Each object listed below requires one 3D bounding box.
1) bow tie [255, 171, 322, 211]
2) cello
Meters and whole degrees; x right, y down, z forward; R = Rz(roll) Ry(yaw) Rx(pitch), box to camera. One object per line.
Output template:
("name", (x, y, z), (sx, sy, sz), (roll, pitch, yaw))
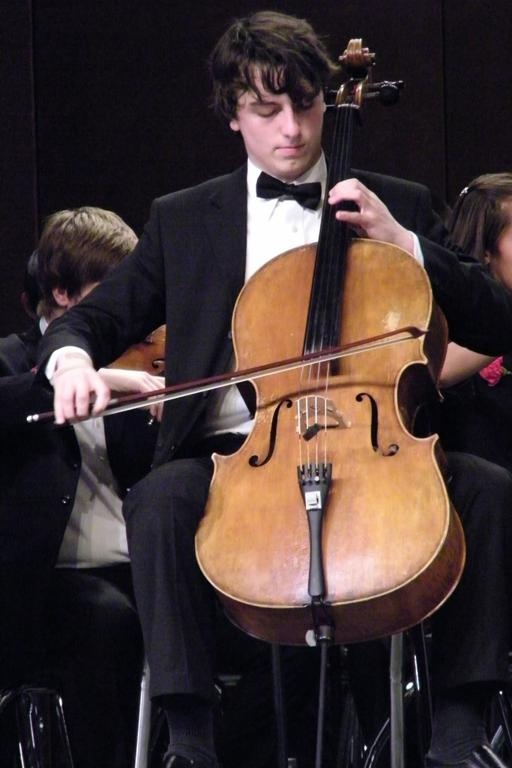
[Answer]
("bow tie", (0.064, -0.382, 1.858), (0.135, 0.071, 0.079), (-1, 12, -2))
("cello", (0.121, -0.028, 1.409), (0.273, 0.212, 0.784), (-7, 47, 22))
